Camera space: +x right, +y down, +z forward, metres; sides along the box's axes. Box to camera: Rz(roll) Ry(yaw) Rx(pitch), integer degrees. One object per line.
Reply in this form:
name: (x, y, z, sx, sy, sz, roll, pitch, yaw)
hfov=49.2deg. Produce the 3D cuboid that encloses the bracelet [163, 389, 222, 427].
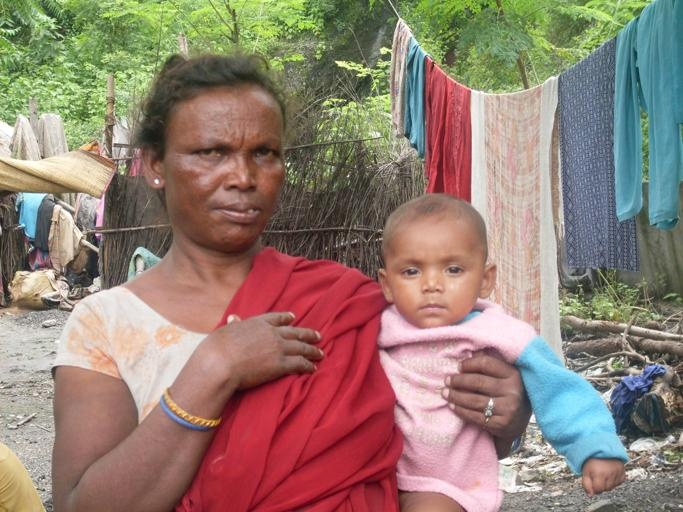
bracelet: (-0.672, 0.663, 3.324, 0.177, 0.042, 0.180, 29, 10, -8)
